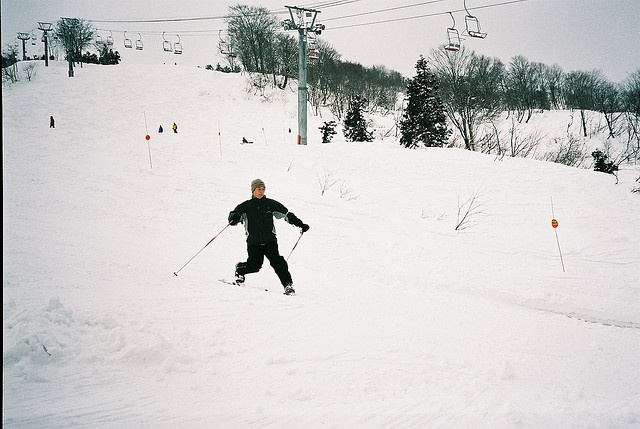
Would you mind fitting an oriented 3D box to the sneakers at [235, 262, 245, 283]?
[{"bbox_3d":[-1.736,1.261,11.143,0.143,0.469,0.203,-2,8,-4],"label":"sneakers"}]

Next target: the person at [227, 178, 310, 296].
[{"bbox_3d":[-1.217,0.433,11.126,1.494,2.242,0.907,5,11,12],"label":"person"}]

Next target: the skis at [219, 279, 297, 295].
[{"bbox_3d":[-1.347,1.556,10.974,1.169,0.094,0.209,7,47,16],"label":"skis"}]

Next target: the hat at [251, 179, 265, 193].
[{"bbox_3d":[-1.376,-0.662,11.454,0.305,0.287,0.249,-13,-9,40],"label":"hat"}]
